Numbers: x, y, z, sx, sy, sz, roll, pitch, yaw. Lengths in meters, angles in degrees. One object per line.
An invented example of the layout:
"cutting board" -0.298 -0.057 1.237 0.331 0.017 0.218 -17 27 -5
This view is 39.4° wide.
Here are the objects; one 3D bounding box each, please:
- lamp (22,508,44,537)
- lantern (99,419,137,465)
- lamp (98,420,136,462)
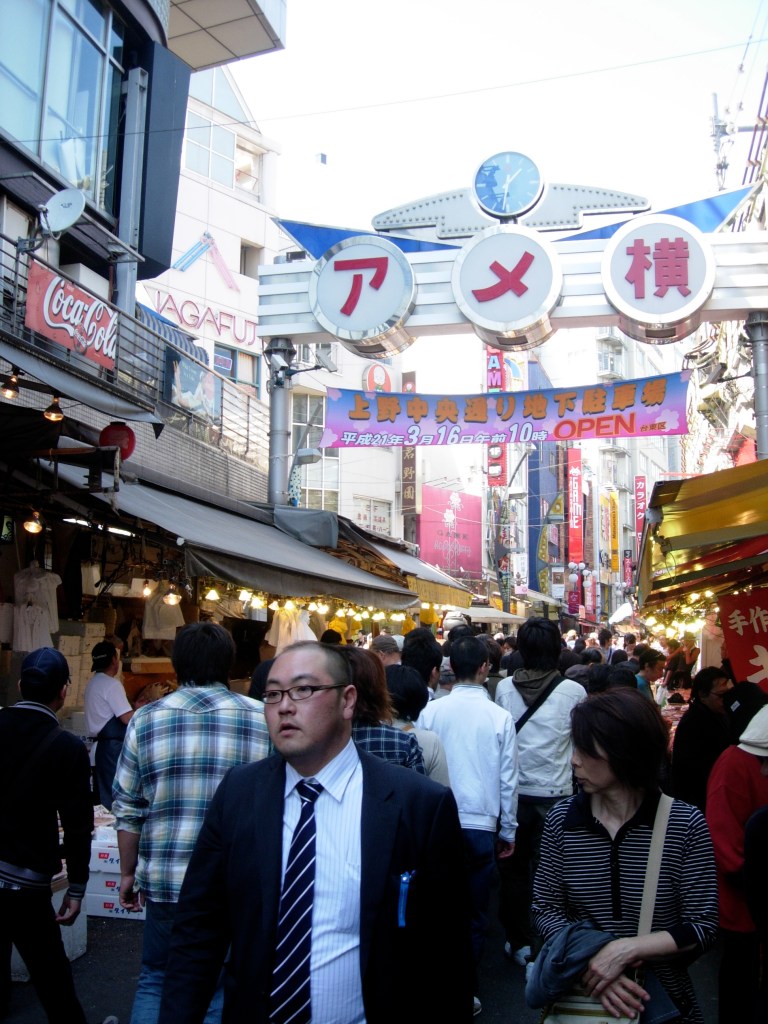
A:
"lamp" -2.352 0.061 7.142 0.160 0.167 0.156 2 -25 3
"lantern" -1.669 -0.434 6.696 0.260 0.291 0.253 1 -6 -2
"lamp" -1.673 -0.444 6.698 0.246 0.276 0.239 1 -5 -2
